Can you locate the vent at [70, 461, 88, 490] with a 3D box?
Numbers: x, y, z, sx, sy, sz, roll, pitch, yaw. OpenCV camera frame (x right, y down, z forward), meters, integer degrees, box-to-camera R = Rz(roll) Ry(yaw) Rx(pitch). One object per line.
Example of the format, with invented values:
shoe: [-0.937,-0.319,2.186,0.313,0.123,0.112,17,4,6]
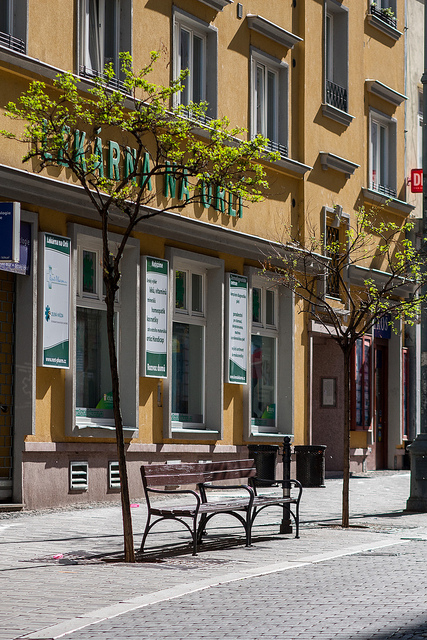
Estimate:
vent: [-1.768,2.043,14.907,0.080,0.364,0.295,-4,-7,29]

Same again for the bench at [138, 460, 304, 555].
bench: [0.141,1.942,11.612,0.588,1.071,2.291,-7,-7,28]

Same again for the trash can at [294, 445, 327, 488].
trash can: [1.662,2.448,19.355,0.453,0.790,0.468,5,14,30]

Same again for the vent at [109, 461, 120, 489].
vent: [-1.363,2.142,15.741,0.085,0.385,0.316,-1,-5,8]
